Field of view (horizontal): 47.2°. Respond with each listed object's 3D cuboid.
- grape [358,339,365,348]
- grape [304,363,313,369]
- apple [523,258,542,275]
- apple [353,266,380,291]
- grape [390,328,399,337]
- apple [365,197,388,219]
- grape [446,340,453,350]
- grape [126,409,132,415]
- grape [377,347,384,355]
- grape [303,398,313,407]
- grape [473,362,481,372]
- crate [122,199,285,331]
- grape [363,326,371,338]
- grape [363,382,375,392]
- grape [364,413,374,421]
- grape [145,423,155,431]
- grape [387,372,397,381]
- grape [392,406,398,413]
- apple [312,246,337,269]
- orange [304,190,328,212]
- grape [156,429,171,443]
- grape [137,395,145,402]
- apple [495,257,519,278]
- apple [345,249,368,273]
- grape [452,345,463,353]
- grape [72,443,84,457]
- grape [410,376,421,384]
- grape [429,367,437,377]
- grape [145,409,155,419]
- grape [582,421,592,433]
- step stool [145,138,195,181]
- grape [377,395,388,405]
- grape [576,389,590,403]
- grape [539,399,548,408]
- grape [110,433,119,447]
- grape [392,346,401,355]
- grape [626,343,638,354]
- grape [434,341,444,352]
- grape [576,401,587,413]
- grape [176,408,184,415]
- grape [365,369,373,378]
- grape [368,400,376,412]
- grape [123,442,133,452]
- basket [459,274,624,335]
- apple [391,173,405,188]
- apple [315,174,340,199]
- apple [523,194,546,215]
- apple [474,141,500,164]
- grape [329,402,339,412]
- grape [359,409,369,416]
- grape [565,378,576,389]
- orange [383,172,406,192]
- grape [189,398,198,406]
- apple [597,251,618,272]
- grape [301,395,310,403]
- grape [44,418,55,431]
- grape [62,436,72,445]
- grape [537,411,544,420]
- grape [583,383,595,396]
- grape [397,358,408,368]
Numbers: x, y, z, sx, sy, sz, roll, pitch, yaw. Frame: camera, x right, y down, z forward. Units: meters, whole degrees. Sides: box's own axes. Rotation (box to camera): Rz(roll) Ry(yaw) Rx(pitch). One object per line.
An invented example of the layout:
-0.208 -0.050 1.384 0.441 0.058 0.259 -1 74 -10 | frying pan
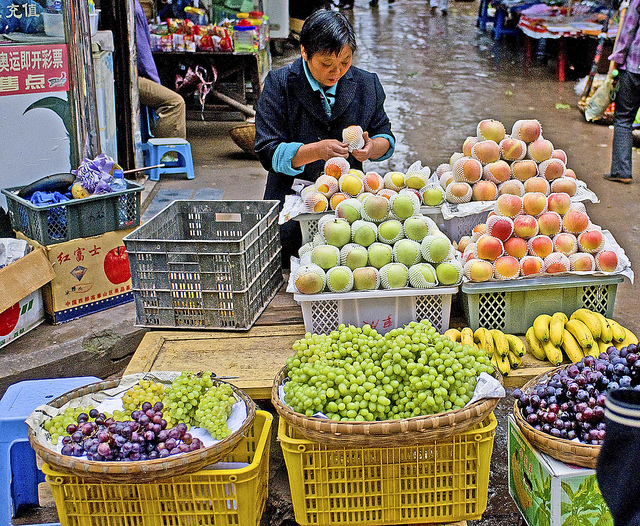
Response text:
0.171 0.334 3.023 0.028 0.028 0.021 10 23 24 | grape
-0.042 0.422 2.999 0.018 0.013 0.020 6 19 -11 | grape
0.982 0.019 3.419 0.058 0.075 0.075 -1 48 -21 | apple
0.209 0.074 3.393 0.098 0.113 0.106 1 3 9 | apple
0.307 0.289 3.040 0.022 0.028 0.024 2 5 -13 | grape
0.267 -0.259 3.480 0.082 0.112 0.092 -4 16 -8 | apple
0.527 0.338 2.984 0.011 0.042 0.034 15 26 35 | grape
-0.795 0.624 3.058 0.019 0.025 0.021 10 46 -1 | grape
0.246 0.363 2.992 0.021 0.030 0.023 -5 5 -13 | grape
-0.046 0.552 2.891 0.039 0.021 0.019 -42 2 10 | grape
0.638 0.427 3.006 0.025 0.009 0.027 6 36 29 | grape
-0.565 -0.014 3.829 0.610 0.494 0.776 4 23 11 | crate
0.195 0.288 3.065 0.031 0.036 0.032 0 21 0 | grape
0.191 0.489 2.896 0.032 0.035 0.034 -2 10 -17 | grape
0.192 0.604 2.864 0.030 0.028 0.029 18 34 5 | grape
-0.681 0.660 2.938 0.022 0.032 0.024 1 1 2 | grape
0.283 0.455 2.946 0.022 0.018 0.029 9 41 20 | grape
0.297 0.584 2.907 0.018 0.025 0.019 0 2 0 | grape
0.022 -0.024 3.432 0.093 0.104 0.092 -19 29 -38 | apple
-0.019 -0.313 3.701 0.082 0.073 0.109 -2 11 -3 | orange
-0.621 0.691 2.909 0.032 0.026 0.048 -6 55 34 | grape
-0.745 0.566 3.059 0.023 0.025 0.023 17 7 43 | grape
0.868 0.023 3.440 0.080 0.091 0.084 -8 19 46 | apple
0.169 -0.014 3.373 0.074 0.098 0.098 -2 49 -4 | apple
0.563 0.355 3.005 0.035 0.023 0.018 -14 5 -17 | grape
-0.945 0.740 2.877 0.031 0.038 0.044 3 -4 -17 | grape
0.376 0.464 2.893 0.028 0.019 0.021 -4 -5 -40 | grape
0.447 0.432 2.904 0.022 0.025 0.032 -19 44 -15 | grape
-0.685 0.615 2.969 0.025 0.030 0.032 4 -3 28 | grape
1.072 0.662 2.956 0.021 0.035 0.039 0 -29 44 | grape
-1.577 -1.120 7.691 0.479 0.434 0.513 -5 12 -18 | step stool
0.244 0.539 2.863 0.033 0.028 0.027 13 47 17 | grape
1.076 0.549 3.007 0.037 0.051 0.045 -1 0 1 | grape
0.934 0.590 3.076 0.023 0.018 0.029 14 31 25 | grape
-0.805 0.700 2.878 0.026 0.032 0.038 0 -3 -4 | grape
0.305 0.353 2.936 0.030 0.024 0.024 -4 22 -10 | grape
1.316 0.364 3.102 0.031 0.044 0.034 -7 15 1 | grape
0.478 0.334 2.950 0.034 0.031 0.016 -19 -37 35 | grape
1.063 0.587 2.986 0.027 0.030 0.040 3 59 49 | grape
-0.573 0.612 3.013 0.023 0.033 0.025 3 -7 -5 | grape
0.195 0.442 2.939 0.024 0.031 0.028 -16 51 16 | grape
0.206 0.563 2.873 0.023 0.022 0.036 -1 46 4 | grape
-0.743 0.719 2.854 0.027 0.021 0.032 -12 31 -27 | grape
1.047 0.185 3.512 0.718 0.299 0.522 -3 18 2 | basket
0.411 -0.436 3.857 0.038 0.068 0.062 -30 -7 30 | apple
0.038 -0.400 3.811 0.103 0.123 0.109 0 19 -2 | apple
1.032 -0.281 3.543 0.086 0.103 0.093 1 9 10 | apple
0.854 -0.566 3.750 0.099 0.110 0.105 -27 18 12 | apple
0.054 0.568 2.881 0.026 0.029 0.037 -31 7 5 | grape
0.171 0.584 2.858 0.025 0.018 0.021 -3 5 13 | grape
1.035 0.504 3.069 0.029 0.021 0.031 2 29 25 | grape
0.393 -0.431 3.887 0.117 0.090 0.186 1 23 3 | orange
-0.521 0.577 3.034 0.019 0.030 0.020 -3 -6 -44 | grape
1.343 -0.005 3.471 0.077 0.107 0.083 -15 5 8 | apple
-0.059 0.545 2.904 0.019 0.025 0.015 21 33 -55 | grape
-1.103 0.661 2.997 0.032 0.038 0.044 0 23 -7 | grape
-0.999 0.704 2.917 0.028 0.028 0.016 42 -3 -42 | grape
0.908 0.634 3.032 0.024 0.034 0.026 0 1 2 | grape
1.111 0.521 3.029 0.037 0.051 0.042 -18 7 4 | grape
0.329 0.400 2.919 0.022 0.025 0.030 -12 26 -42 | grape
